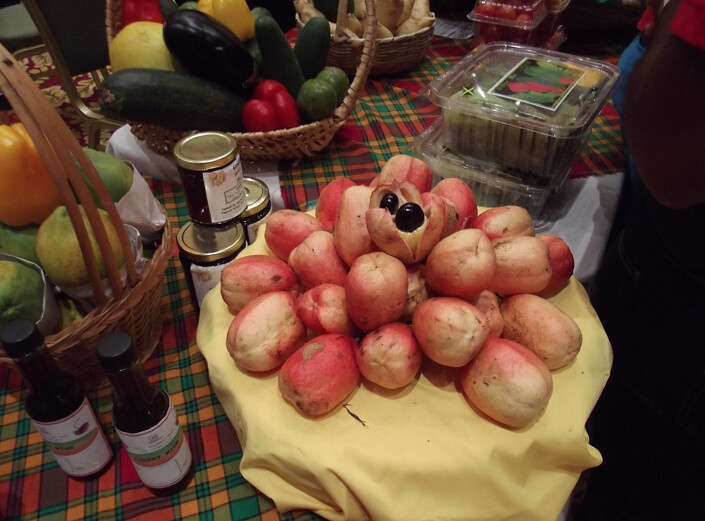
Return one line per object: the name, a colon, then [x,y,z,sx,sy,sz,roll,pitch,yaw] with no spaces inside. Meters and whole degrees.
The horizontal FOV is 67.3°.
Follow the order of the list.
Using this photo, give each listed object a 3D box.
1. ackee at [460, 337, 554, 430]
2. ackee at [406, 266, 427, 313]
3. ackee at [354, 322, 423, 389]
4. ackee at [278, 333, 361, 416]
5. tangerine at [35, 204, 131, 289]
ackee: [0.215,0.168,0.736,0.090,0.065,0.111,-35,57,-30]
ackee: [0.104,0.052,0.804,0.040,0.052,0.056,12,83,15]
ackee: [0.056,0.143,0.768,0.078,0.104,0.093,15,23,40]
ackee: [-0.043,0.158,0.780,0.086,0.093,0.117,37,39,17]
tangerine: [-0.469,-0.022,0.874,0.101,0.115,0.113,-2,41,-21]
